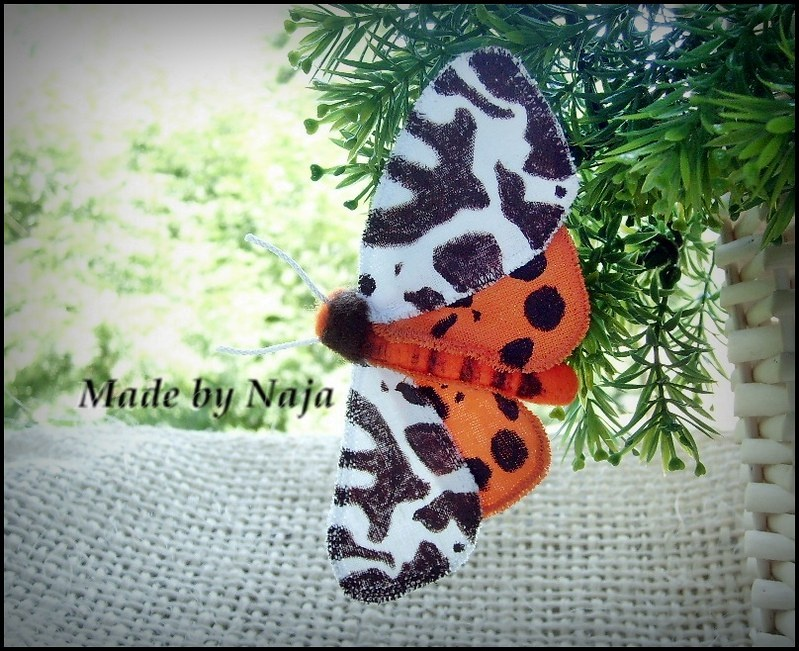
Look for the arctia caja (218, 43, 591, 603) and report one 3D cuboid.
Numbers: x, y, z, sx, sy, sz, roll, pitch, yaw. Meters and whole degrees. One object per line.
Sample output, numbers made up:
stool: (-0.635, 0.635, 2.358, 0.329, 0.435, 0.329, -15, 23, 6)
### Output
arctia caja: (0.011, 0.011, 0.838, 0.410, 0.521, 0.136, 15, 10, 24)
